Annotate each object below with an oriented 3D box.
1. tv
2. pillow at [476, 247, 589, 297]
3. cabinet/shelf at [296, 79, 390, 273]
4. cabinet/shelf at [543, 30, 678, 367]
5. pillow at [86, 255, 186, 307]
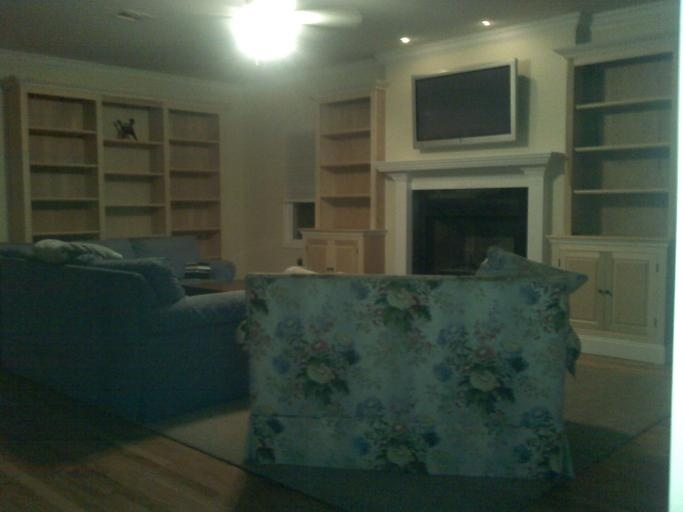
[{"bbox_3d":[1.240,-1.490,5.814,0.944,0.659,0.103,4,9,37],"label":"tv"},{"bbox_3d":[0.982,0.083,3.094,0.445,0.133,0.290,9,43,26],"label":"pillow"},{"bbox_3d":[0.048,-0.845,6.648,0.941,2.011,0.620,2,4,26],"label":"cabinet/shelf"},{"bbox_3d":[2.257,-0.472,5.009,0.954,2.551,0.723,2,4,25],"label":"cabinet/shelf"},{"bbox_3d":[-1.152,0.140,3.545,0.326,0.159,0.334,14,7,29],"label":"pillow"}]
